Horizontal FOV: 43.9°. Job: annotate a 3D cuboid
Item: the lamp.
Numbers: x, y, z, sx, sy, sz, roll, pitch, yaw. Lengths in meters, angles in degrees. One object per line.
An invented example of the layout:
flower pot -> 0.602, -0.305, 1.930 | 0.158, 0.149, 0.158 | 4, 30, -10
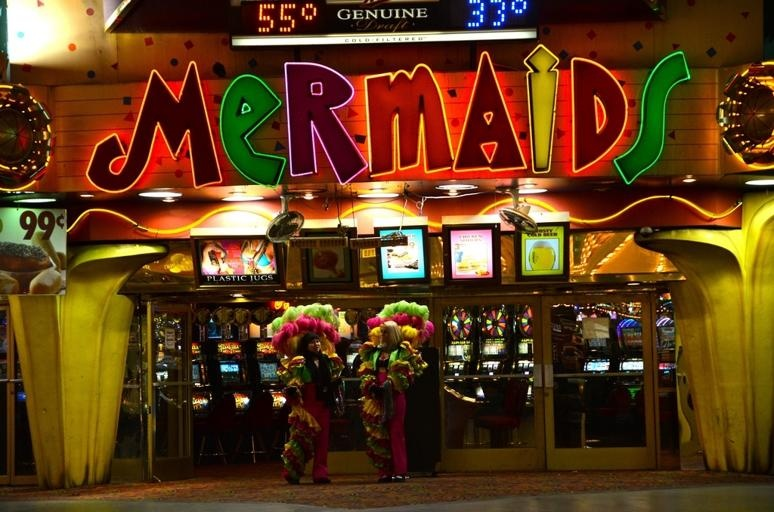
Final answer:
lamp -> -0.522, -0.459, 12.969 | 1.589, 0.771, 0.636 | -1, -9, 0

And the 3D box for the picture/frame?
picture/frame -> 0.411, -0.016, 14.069 | 3.933, 0.990, 1.415 | 1, -3, -2

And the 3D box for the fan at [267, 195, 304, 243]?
fan -> -1.367, -0.481, 12.816 | 0.491, 0.613, 0.376 | 0, -10, -6

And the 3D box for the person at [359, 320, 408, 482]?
person -> -0.020, 1.886, 12.597 | 0.846, 2.049, 0.635 | -8, -17, 27

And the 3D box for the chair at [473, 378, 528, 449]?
chair -> 1.660, 2.260, 14.149 | 0.879, 0.974, 0.637 | -1, 2, -2

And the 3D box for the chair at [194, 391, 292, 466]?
chair -> -2.538, 2.984, 16.696 | 1.655, 1.190, 1.129 | 2, -10, -17
